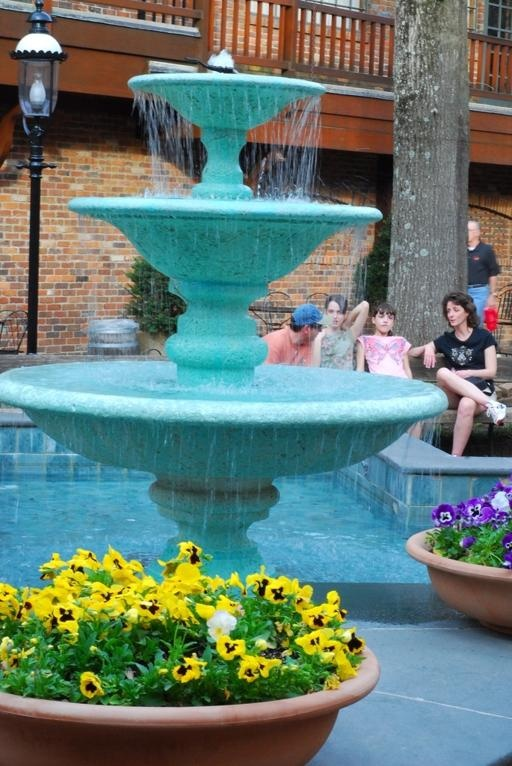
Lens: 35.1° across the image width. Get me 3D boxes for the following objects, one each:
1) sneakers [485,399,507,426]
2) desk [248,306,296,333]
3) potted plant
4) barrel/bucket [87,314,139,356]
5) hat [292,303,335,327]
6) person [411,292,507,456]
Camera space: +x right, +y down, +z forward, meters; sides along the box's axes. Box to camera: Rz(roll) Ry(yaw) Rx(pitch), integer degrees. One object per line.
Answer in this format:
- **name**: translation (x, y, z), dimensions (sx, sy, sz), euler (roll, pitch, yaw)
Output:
- **sneakers**: translation (1.535, 0.187, 5.233), dimensions (0.106, 0.161, 0.252), euler (0, 1, 14)
- **desk**: translation (0.184, -0.948, 11.578), dimensions (0.715, 0.472, 0.650), euler (-2, 5, -38)
- **potted plant**: translation (-1.301, -1.051, 10.567), dimensions (0.575, 1.276, 0.948), euler (0, 1, -25)
- **barrel/bucket**: translation (-1.754, -0.598, 9.885), dimensions (0.513, 0.474, 0.519), euler (0, 2, 0)
- **hat**: translation (0.336, -0.411, 4.966), dimensions (0.169, 0.129, 0.254), euler (8, 17, 42)
- **person**: translation (1.387, -0.105, 5.710), dimensions (0.608, 1.141, 1.310), euler (0, 1, 11)
